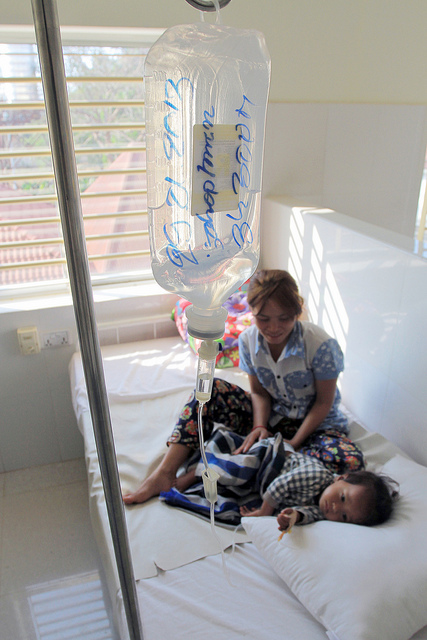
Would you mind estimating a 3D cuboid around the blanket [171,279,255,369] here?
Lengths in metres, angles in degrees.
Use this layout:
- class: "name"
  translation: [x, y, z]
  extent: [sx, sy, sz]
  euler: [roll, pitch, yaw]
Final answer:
- class: "blanket"
  translation: [0.007, -0.028, 1.964]
  extent: [0.336, 0.096, 0.354]
  euler: [-18, 49, 22]

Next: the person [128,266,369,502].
- class: "person"
  translation: [0.091, 0.193, 1.501]
  extent: [0.710, 0.661, 0.623]
  euler: [-3, 10, -9]

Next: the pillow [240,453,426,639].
- class: "pillow"
  translation: [0.326, 0.463, 0.984]
  extent: [0.253, 0.070, 0.255]
  euler: [-20, 30, -27]

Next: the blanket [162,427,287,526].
- class: "blanket"
  translation: [0.059, 0.439, 1.414]
  extent: [0.334, 0.122, 0.421]
  euler: [12, 12, 6]
